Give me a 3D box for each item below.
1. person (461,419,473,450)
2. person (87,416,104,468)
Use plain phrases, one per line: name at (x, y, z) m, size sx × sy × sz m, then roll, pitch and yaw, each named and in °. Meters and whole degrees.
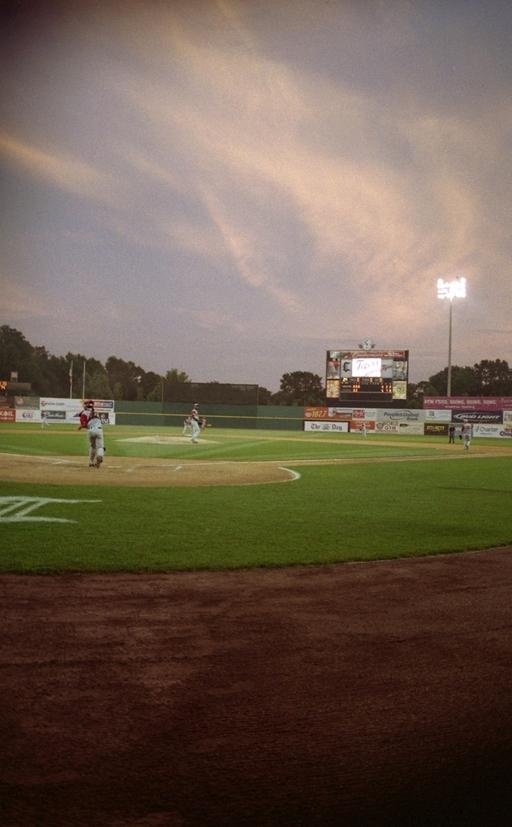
person at (9.184, 1.040, 32.948) m, size 0.335 × 1.181 × 1.125 m, roll 3°, pitch 3°, yaw 10°
person at (-3.760, 0.720, 17.718) m, size 0.328 × 1.136 × 0.538 m, roll 12°, pitch 20°, yaw 19°
